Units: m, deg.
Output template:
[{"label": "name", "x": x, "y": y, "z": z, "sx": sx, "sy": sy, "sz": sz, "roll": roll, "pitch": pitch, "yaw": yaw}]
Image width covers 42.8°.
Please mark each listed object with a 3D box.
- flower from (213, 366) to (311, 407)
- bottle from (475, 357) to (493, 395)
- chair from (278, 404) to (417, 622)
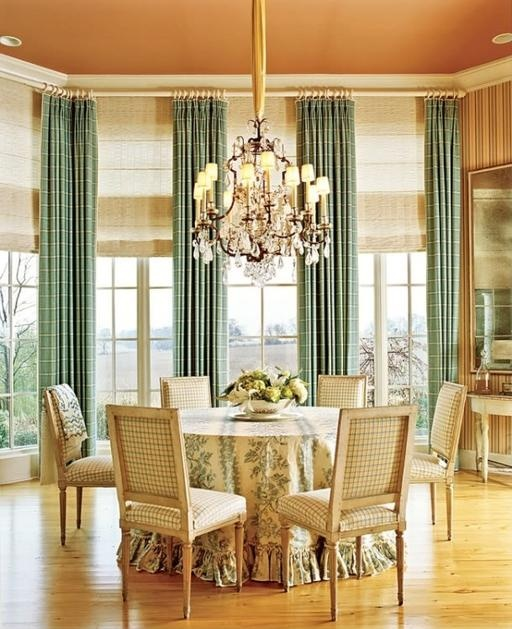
[{"label": "flower", "x": 0.042, "y": 0.414, "z": 3.689, "sx": 0.474, "sy": 0.205, "sz": 0.272, "roll": -1, "pitch": 1, "yaw": -13}, {"label": "bottle", "x": 1.780, "y": 0.506, "z": 5.135, "sx": 0.114, "sy": 0.215, "sz": 0.232, "roll": 0, "pitch": 1, "yaw": 19}, {"label": "chair", "x": 0.408, "y": 0.854, "z": 2.955, "sx": 0.610, "sy": 0.925, "sz": 0.473, "roll": -1, "pitch": 1, "yaw": 1}]
